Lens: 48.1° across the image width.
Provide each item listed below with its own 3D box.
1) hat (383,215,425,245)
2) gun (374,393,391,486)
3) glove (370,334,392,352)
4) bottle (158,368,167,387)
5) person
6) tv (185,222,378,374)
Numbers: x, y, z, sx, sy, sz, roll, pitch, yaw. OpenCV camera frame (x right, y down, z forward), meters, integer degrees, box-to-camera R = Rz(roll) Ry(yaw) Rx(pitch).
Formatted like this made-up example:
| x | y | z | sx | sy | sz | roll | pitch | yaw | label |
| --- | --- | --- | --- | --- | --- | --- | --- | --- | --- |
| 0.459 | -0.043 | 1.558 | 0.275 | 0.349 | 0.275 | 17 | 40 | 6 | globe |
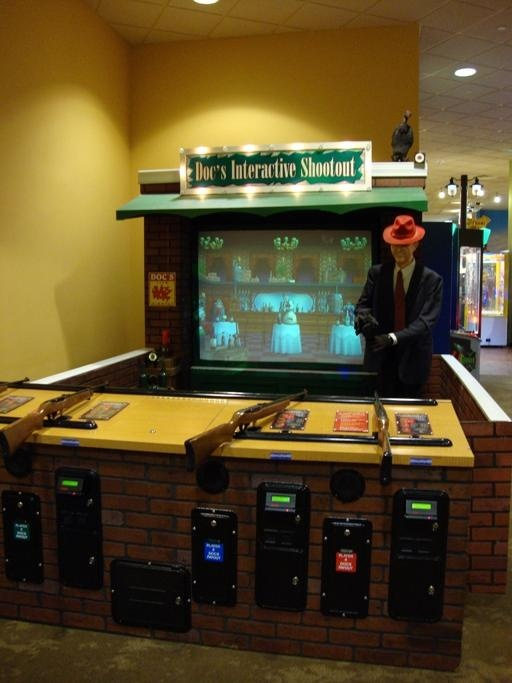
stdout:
| x | y | z | sx | sy | sz | roll | pitch | yaw | label |
| --- | --- | --- | --- | --- | --- | --- | --- | --- | --- |
| 0.942 | -0.709 | 3.658 | 0.241 | 0.195 | 0.310 | 2 | 8 | 13 | hat |
| 0.467 | 0.371 | 2.121 | 0.043 | 0.319 | 0.115 | -13 | -37 | 26 | gun |
| 0.755 | 0.003 | 3.437 | 0.126 | 0.077 | 0.084 | 1 | 8 | 11 | glove |
| -0.776 | 0.301 | 4.824 | 0.094 | 0.157 | 0.068 | -6 | 9 | -36 | bottle |
| 0.852 | -0.188 | 3.665 | 0.644 | 1.225 | 0.547 | -2 | 8 | -13 | person |
| 0.270 | -0.418 | 5.061 | 1.446 | 1.012 | 0.020 | 1 | 7 | 9 | tv |
